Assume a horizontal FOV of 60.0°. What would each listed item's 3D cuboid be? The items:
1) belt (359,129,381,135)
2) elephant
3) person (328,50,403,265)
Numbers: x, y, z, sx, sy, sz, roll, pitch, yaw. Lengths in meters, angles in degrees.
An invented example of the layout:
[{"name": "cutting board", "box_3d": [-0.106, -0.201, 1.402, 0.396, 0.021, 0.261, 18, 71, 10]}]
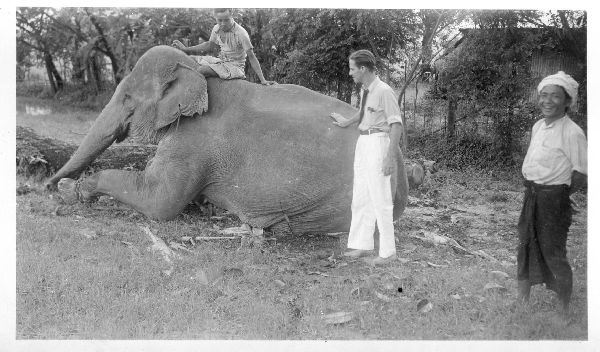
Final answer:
[{"name": "belt", "box_3d": [0.916, -0.582, 6.855, 0.264, 0.092, 0.062, 8, 13, 32]}, {"name": "elephant", "box_3d": [-0.996, -0.409, 8.741, 5.710, 2.328, 2.317, 11, 2, 7]}, {"name": "person", "box_3d": [1.001, -0.265, 7.025, 0.791, 2.787, 0.699, 5, 12, 14]}]
